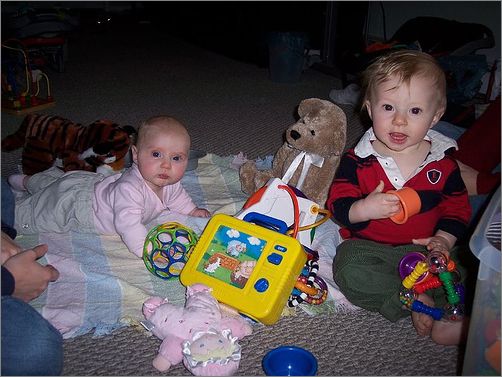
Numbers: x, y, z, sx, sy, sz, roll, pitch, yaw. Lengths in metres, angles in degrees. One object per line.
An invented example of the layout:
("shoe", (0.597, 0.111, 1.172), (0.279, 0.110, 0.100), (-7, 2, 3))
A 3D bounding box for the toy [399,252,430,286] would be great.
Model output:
("toy", (0.492, 0.235, 1.157), (0.080, 0.032, 0.080), (-29, 57, 13))

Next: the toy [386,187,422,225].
("toy", (0.466, 0.048, 1.183), (0.059, 0.097, 0.097), (-20, -2, -26))

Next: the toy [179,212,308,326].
("toy", (-0.013, 0.234, 1.195), (0.395, 0.120, 0.302), (20, 73, 25))

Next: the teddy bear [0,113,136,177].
("teddy bear", (-0.849, -0.217, 1.816), (0.475, 0.208, 0.290), (4, 37, -17))

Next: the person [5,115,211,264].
("person", (-0.497, -0.037, 1.522), (0.769, 0.485, 0.432), (13, 25, -5))

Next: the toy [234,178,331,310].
("toy", (0.146, 0.199, 1.386), (0.288, 0.178, 0.445), (19, 57, 21))
